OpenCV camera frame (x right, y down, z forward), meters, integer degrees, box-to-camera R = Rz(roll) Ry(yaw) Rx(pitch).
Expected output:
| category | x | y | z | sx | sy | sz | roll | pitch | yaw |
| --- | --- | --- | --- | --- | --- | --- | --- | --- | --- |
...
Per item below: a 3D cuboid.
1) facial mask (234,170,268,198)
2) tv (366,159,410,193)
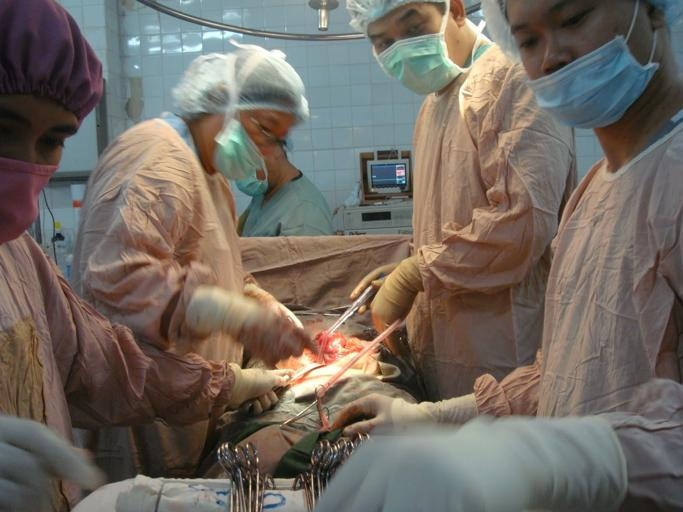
| category | x | y | z | sx | sy | sz | roll | pitch | yaw |
| --- | --- | --- | --- | --- | --- | --- | --- | --- | --- |
| facial mask | -0.421 | -0.353 | 3.941 | 0.071 | 0.155 | 0.141 | 29 | -15 | -24 |
| tv | 0.367 | -0.614 | 6.405 | 0.354 | 0.388 | 0.226 | 0 | -3 | 4 |
